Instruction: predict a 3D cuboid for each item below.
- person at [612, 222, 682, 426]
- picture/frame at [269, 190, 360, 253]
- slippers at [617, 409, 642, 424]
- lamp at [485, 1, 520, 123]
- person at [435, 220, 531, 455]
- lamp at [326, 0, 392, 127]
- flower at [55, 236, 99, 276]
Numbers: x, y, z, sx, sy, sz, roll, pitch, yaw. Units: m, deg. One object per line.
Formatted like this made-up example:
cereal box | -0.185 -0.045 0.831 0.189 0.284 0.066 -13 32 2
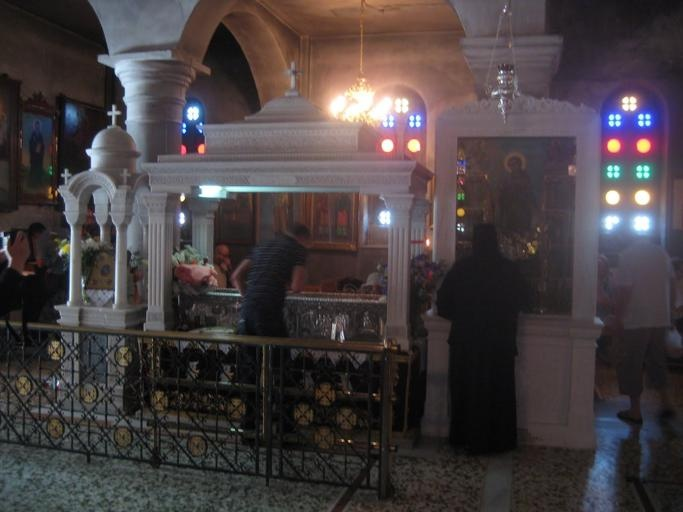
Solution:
person | 3.328 0.796 8.539 0.588 1.888 0.910 7 13 29
picture/frame | -0.448 -0.686 13.535 1.050 1.218 0.101 1 1 5
slippers | 3.164 1.768 8.400 0.108 0.213 0.207 -4 -1 -41
lamp | 1.695 -2.123 8.004 0.380 1.283 1.755 3 13 12
person | 1.381 0.816 7.545 0.795 2.191 0.556 0 11 -5
lamp | 0.350 -3.565 14.088 1.220 2.210 2.310 2 13 3
flower | -3.139 0.001 9.096 0.518 0.429 0.593 1 1 23
